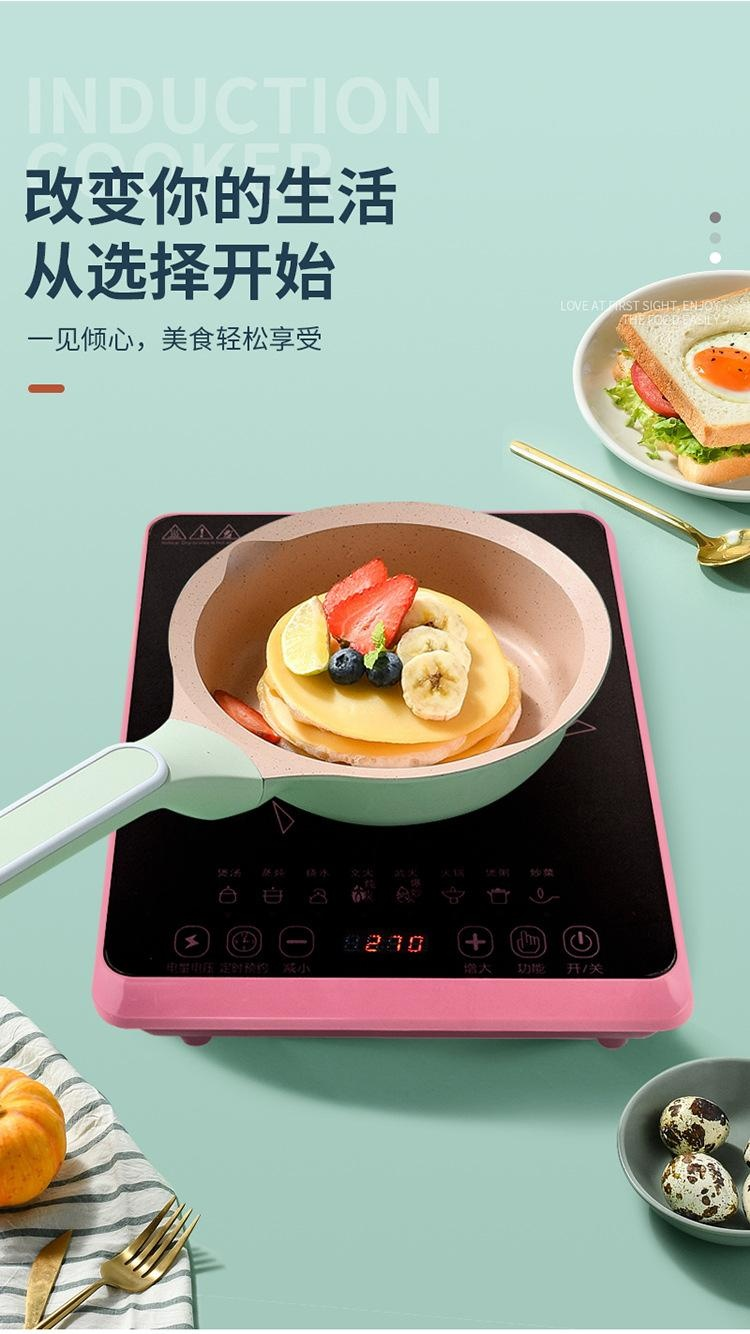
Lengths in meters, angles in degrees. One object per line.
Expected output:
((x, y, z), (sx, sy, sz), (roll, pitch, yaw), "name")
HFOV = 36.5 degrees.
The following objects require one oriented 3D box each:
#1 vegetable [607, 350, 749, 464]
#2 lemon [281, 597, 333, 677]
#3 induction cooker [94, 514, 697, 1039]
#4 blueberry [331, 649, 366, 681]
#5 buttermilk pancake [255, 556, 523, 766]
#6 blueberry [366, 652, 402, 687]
((0.356, -0.308, 1.394), (0.130, 0.068, 0.161), (-15, 57, -26), "vegetable")
((-0.059, -0.024, 0.957), (0.035, 0.021, 0.068), (-1, 47, -1), "lemon")
((0.014, 0.168, 0.981), (0.438, 0.082, 0.457), (-1, 24, -2), "induction cooker")
((-0.021, 0.000, 0.915), (0.025, 0.023, 0.025), (-6, 37, 0), "blueberry")
((0.010, 0.002, 0.927), (0.178, 0.060, 0.170), (4, 42, 2), "buttermilk pancake")
((0.008, 0.003, 0.907), (0.028, 0.028, 0.028), (-11, 43, -1), "blueberry")
